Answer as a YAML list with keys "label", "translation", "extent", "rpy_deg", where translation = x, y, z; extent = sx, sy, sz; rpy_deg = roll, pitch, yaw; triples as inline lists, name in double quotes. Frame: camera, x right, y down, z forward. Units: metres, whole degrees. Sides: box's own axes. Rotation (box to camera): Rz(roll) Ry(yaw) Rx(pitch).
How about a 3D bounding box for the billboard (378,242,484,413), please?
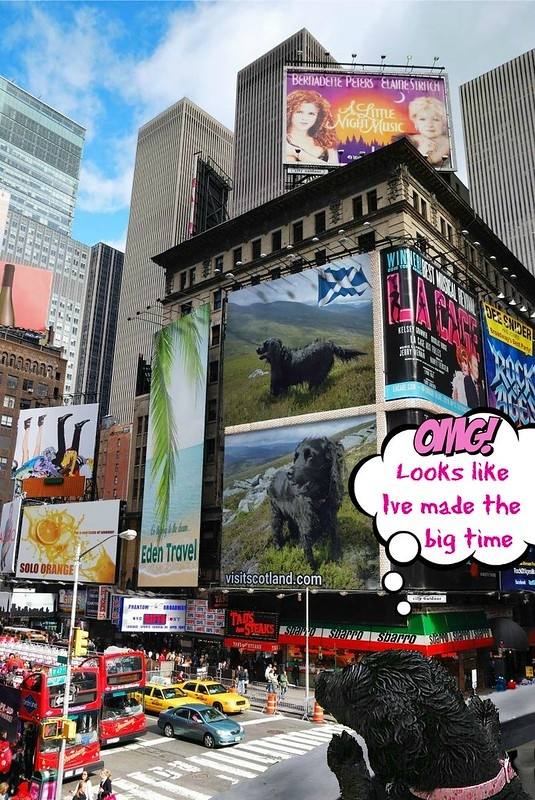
- label: "billboard"
  translation: [11.105, -4.042, 42.748]
  extent: [1.465, 8.948, 11.874]
  rpy_deg: [-6, -10, 37]

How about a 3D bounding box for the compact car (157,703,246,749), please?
- label: "compact car"
  translation: [-2.529, 12.282, 24.626]
  extent: [3.416, 1.268, 1.015]
  rpy_deg: [-14, -21, 38]

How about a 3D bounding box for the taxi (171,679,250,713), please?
- label: "taxi"
  translation: [-2.297, 13.141, 28.831]
  extent: [1.543, 1.102, 3.375]
  rpy_deg: [16, -20, -43]

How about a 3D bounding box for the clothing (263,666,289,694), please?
- label: "clothing"
  translation: [0.303, 15.064, 34.865]
  extent: [1.202, 1.545, 2.688]
  rpy_deg: [5, -20, 8]

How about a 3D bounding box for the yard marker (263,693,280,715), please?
- label: "yard marker"
  translation: [0.234, 14.597, 31.221]
  extent: [0.776, 0.849, 0.797]
  rpy_deg: [-2, -12, 12]

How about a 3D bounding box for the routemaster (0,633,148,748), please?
- label: "routemaster"
  translation: [-5.963, 10.215, 22.823]
  extent: [2.931, 3.499, 7.906]
  rpy_deg: [12, -27, -34]

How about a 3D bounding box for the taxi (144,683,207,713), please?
- label: "taxi"
  translation: [-4.315, 13.185, 28.776]
  extent: [3.550, 1.204, 1.634]
  rpy_deg: [-23, -31, 38]

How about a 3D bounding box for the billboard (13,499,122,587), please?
- label: "billboard"
  translation: [-18.142, 12.812, 58.726]
  extent: [10.248, 6.788, 0.125]
  rpy_deg: [-3, -13, 17]
